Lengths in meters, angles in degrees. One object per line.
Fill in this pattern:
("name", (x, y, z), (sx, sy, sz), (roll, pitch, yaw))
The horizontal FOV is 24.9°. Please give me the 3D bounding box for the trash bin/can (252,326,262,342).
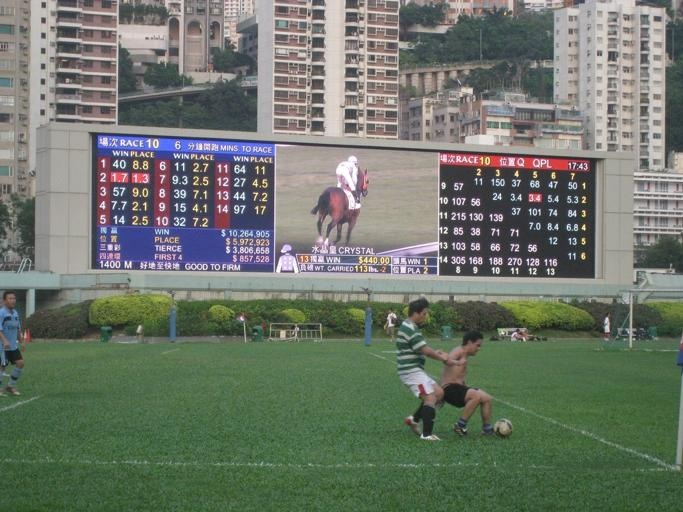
("trash bin/can", (-7.053, 6.456, 132.063), (0.841, 1.247, 1.361), (-1, 2, -7))
